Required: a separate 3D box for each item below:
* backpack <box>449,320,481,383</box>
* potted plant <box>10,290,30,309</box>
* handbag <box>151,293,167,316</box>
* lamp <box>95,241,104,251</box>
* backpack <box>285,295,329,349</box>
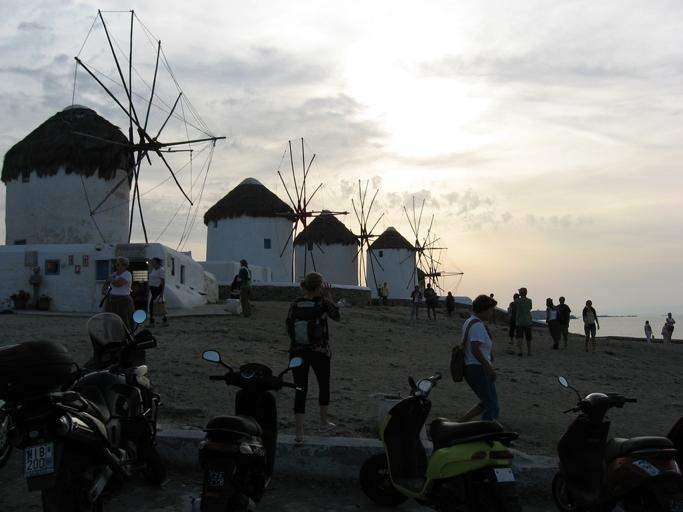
[{"bbox_3d":[1.479,1.125,8.420,0.331,0.769,0.233,1,0,-13],"label":"backpack"},{"bbox_3d":[-10.064,1.361,21.975,0.520,0.397,0.544,2,-8,0],"label":"potted plant"},{"bbox_3d":[-4.497,1.191,17.440,0.400,0.786,0.480,-1,0,-8],"label":"handbag"},{"bbox_3d":[-7.649,-0.268,22.198,0.280,0.215,0.176,1,1,-21],"label":"lamp"},{"bbox_3d":[-0.391,0.792,8.473,0.428,0.606,0.411,2,-7,-14],"label":"backpack"}]
